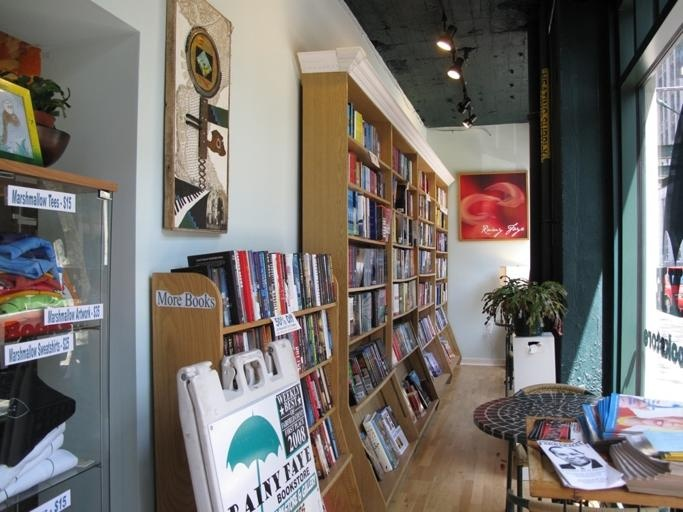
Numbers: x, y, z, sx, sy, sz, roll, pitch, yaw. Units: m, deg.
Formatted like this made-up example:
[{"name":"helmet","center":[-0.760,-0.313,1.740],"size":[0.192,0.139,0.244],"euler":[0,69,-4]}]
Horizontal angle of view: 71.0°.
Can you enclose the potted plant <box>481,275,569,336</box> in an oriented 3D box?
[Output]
[{"name":"potted plant","center":[1.739,0.435,4.282],"size":[0.519,0.339,0.502],"euler":[-1,1,-27]}]

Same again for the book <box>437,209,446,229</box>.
[{"name":"book","center":[1.443,-0.549,6.958],"size":[0.143,0.276,0.273],"euler":[-2,-8,17]}]

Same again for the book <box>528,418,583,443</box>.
[{"name":"book","center":[0.936,0.756,2.088],"size":[0.108,0.029,0.110],"euler":[-1,1,44]}]

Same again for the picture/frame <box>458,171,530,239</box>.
[{"name":"picture/frame","center":[2.409,-0.778,7.433],"size":[0.965,1.092,0.070],"euler":[0,-5,15]}]

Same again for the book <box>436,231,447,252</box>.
[{"name":"book","center":[1.442,-0.220,6.934],"size":[0.147,0.274,0.285],"euler":[-2,-4,20]}]

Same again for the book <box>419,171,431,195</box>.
[{"name":"book","center":[1.055,-0.929,6.078],"size":[0.117,0.340,0.343],"euler":[-1,-5,16]}]

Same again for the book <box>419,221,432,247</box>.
[{"name":"book","center":[1.011,-0.276,5.805],"size":[0.159,0.311,0.308],"euler":[-2,-6,18]}]

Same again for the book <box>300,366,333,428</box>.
[{"name":"book","center":[-0.143,0.799,2.766],"size":[0.056,0.254,0.251],"euler":[-7,4,23]}]

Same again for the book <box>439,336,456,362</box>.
[{"name":"book","center":[1.517,1.339,6.906],"size":[0.108,0.328,0.311],"euler":[-24,5,6]}]

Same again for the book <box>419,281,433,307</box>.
[{"name":"book","center":[1.026,0.463,5.862],"size":[0.165,0.332,0.321],"euler":[0,-4,24]}]

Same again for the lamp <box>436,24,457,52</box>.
[{"name":"lamp","center":[0.921,-1.906,4.157],"size":[0.106,0.272,0.296],"euler":[-3,2,23]}]

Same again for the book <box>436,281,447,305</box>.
[{"name":"book","center":[1.426,0.515,6.839],"size":[0.178,0.353,0.340],"euler":[-1,-4,19]}]

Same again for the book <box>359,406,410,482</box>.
[{"name":"book","center":[0.326,1.449,3.746],"size":[0.083,0.380,0.374],"euler":[-14,12,25]}]

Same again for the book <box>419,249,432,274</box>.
[{"name":"book","center":[1.014,0.066,5.834],"size":[0.135,0.266,0.260],"euler":[-4,-9,23]}]

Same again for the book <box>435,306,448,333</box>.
[{"name":"book","center":[1.423,0.904,6.832],"size":[0.137,0.414,0.408],"euler":[-8,-10,20]}]
